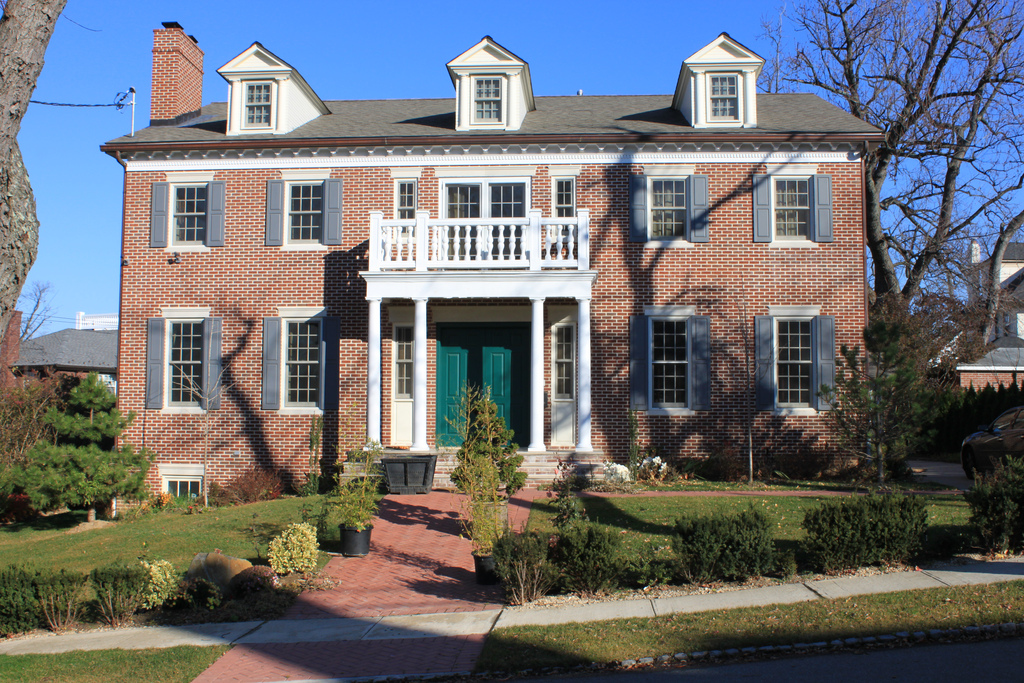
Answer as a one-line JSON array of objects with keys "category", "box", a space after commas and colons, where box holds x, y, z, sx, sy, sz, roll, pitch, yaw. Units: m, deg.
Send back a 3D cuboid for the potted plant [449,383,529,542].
[{"category": "potted plant", "box": [-0.598, 3.010, 30.458, 1.724, 3.322, 1.490, 1, 9, -12]}]
